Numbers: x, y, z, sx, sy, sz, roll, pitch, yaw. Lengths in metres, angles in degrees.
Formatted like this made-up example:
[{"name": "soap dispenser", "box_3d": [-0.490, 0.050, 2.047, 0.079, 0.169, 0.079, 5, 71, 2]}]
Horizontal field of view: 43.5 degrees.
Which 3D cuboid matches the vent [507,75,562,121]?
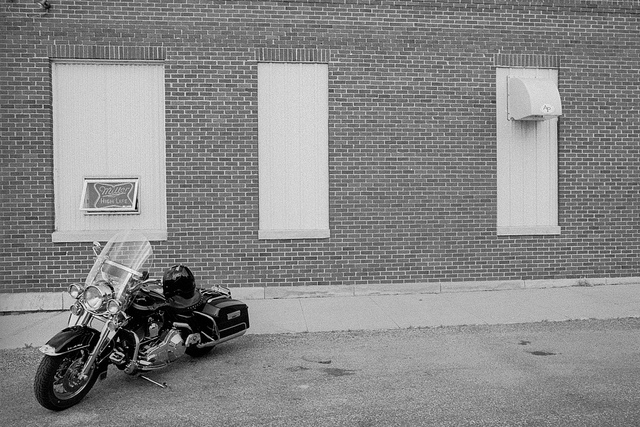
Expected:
[{"name": "vent", "box_3d": [4.582, -2.484, 17.292, 1.269, 1.192, 0.908, -2, 4, -23]}]
